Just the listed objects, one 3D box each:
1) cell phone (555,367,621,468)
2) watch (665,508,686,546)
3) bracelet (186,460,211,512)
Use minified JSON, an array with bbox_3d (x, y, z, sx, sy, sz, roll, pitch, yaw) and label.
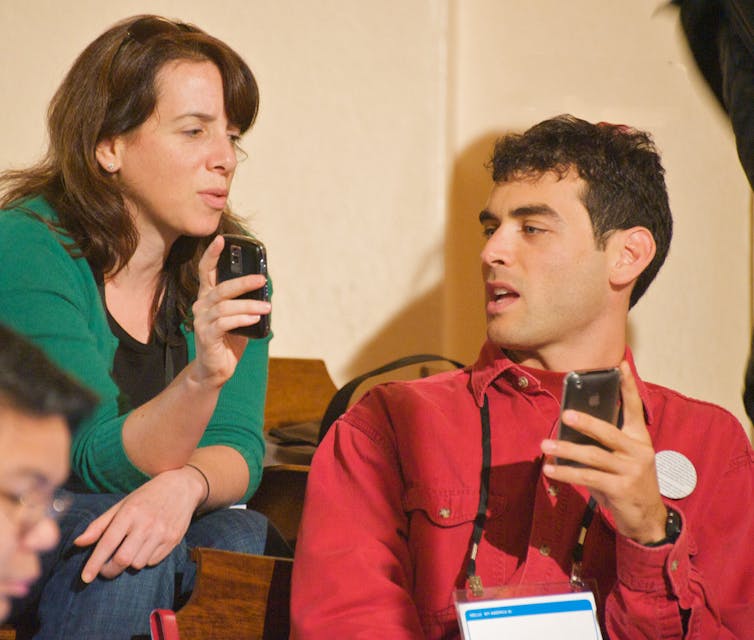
[{"bbox_3d":[0.337,0.160,1.343,0.143,0.226,0.022,0,5,-34],"label":"cell phone"},{"bbox_3d":[0.504,0.349,1.439,0.028,0.057,0.025,-1,-1,20],"label":"watch"},{"bbox_3d":[-0.368,0.350,1.752,0.045,0.071,0.062,-1,-1,-40],"label":"bracelet"}]
